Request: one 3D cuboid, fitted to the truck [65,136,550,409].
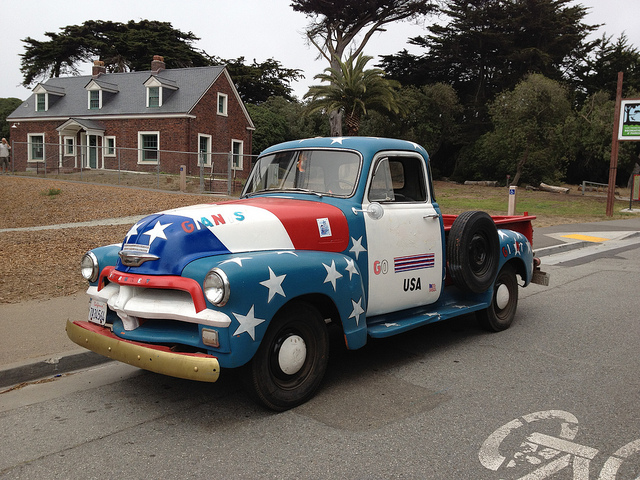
[{"bbox_3d":[0.451,0.022,6.290,5.494,2.187,2.393,-2,1,-44],"label":"truck"}]

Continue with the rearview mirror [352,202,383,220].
[{"bbox_3d":[0.561,-0.301,5.706,0.168,0.165,0.292,7,-7,-29],"label":"rearview mirror"}]

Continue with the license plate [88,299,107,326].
[{"bbox_3d":[-2.188,0.712,5.044,0.200,0.311,0.040,-12,-11,33],"label":"license plate"}]
